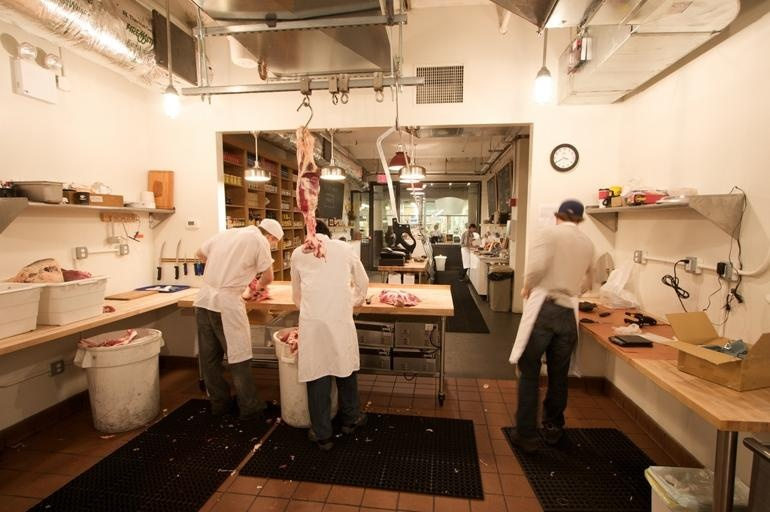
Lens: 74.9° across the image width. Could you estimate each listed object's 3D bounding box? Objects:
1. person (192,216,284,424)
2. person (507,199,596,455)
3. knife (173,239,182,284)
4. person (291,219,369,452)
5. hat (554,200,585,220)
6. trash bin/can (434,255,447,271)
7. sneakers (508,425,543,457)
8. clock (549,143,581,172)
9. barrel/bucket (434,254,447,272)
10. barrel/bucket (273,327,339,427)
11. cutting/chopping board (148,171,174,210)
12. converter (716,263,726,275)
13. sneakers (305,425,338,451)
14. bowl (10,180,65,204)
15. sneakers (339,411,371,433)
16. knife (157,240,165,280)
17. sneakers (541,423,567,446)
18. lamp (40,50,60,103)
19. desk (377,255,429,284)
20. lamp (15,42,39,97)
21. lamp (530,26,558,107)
[{"bbox_3d":[-1.460,0.635,4.901,0.734,1.835,0.327,0,6,-1],"label":"person"},{"bbox_3d":[1.469,0.718,4.513,0.754,2.011,0.259,-2,6,-14],"label":"person"},{"bbox_3d":[-2.365,0.060,5.754,0.076,0.438,0.023,1,-3,2],"label":"knife"},{"bbox_3d":[-0.493,0.689,4.539,0.658,1.996,0.374,-1,6,-7],"label":"person"},{"bbox_3d":[1.644,-0.449,4.588,0.228,0.169,0.363,9,13,11],"label":"hat"},{"bbox_3d":[1.450,0.223,13.059,0.182,0.434,0.665,1,5,14],"label":"trash bin/can"},{"bbox_3d":[1.250,1.662,4.544,0.145,0.140,0.336,1,4,-4],"label":"sneakers"},{"bbox_3d":[1.840,-1.012,5.337,0.288,0.285,0.290,-11,-15,-8],"label":"clock"},{"bbox_3d":[1.444,0.181,13.089,0.440,0.453,0.393,0,-3,-32],"label":"barrel/bucket"},{"bbox_3d":[-0.627,1.168,4.982,0.814,0.814,0.832,0,1,0],"label":"barrel/bucket"},{"bbox_3d":[-2.518,-0.741,5.669,0.303,0.431,0.166,-1,6,-12],"label":"cutting/chopping board"},{"bbox_3d":[2.734,0.104,4.086,0.023,0.111,0.081,-2,6,-14],"label":"converter"},{"bbox_3d":[-0.566,1.640,4.547,0.123,0.117,0.284,0,9,-33],"label":"sneakers"},{"bbox_3d":[-3.070,-0.561,4.501,0.332,0.144,0.210,2,3,8],"label":"bowl"},{"bbox_3d":[-0.267,1.550,4.703,0.111,0.121,0.291,6,12,38],"label":"sneakers"},{"bbox_3d":[-2.568,0.050,5.794,0.083,0.460,0.022,3,0,6],"label":"knife"},{"bbox_3d":[1.552,1.636,4.584,0.154,0.201,0.214,21,-26,-36],"label":"sneakers"},{"bbox_3d":[-3.108,-1.683,4.759,0.100,0.474,0.204,3,6,30],"label":"lamp"},{"bbox_3d":[0.314,0.198,7.125,0.493,0.347,0.481,0,7,6],"label":"desk"},{"bbox_3d":[-3.237,-1.681,4.564,0.106,0.453,0.218,5,8,44],"label":"lamp"},{"bbox_3d":[1.537,-1.856,4.871,0.194,0.839,0.725,2,6,17],"label":"lamp"}]
